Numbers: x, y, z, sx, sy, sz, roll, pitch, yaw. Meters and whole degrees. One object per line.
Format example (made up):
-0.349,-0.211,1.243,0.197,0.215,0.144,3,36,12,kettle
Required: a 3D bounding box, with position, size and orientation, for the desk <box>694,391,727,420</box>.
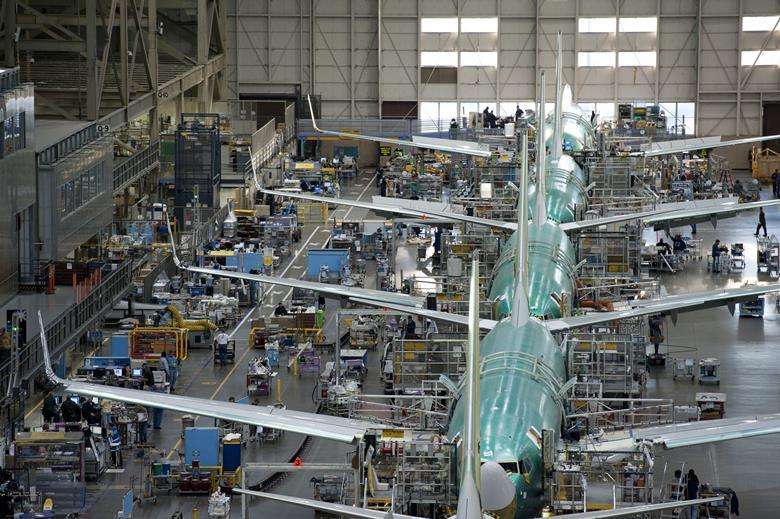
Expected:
17.367,8.182,91.016,1.404,2.101,1.494,0,4,15,desk
